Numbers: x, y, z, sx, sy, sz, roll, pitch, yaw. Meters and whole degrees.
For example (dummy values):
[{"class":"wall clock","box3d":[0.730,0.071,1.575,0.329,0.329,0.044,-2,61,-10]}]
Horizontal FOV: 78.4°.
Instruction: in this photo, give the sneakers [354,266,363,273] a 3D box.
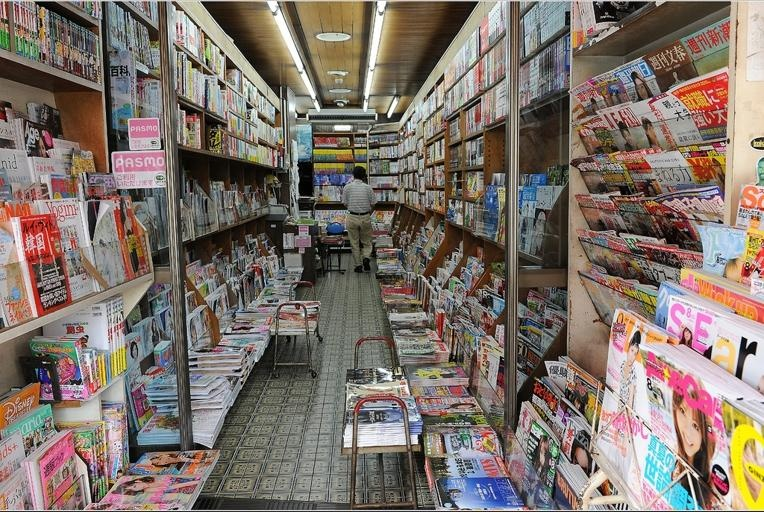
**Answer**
[{"class":"sneakers","box3d":[-0.506,0.295,10.281,0.112,0.152,0.146,4,-65,6]}]

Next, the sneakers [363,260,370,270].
[{"class":"sneakers","box3d":[-0.328,0.232,10.692,0.118,0.105,0.262,-2,-44,1]}]
